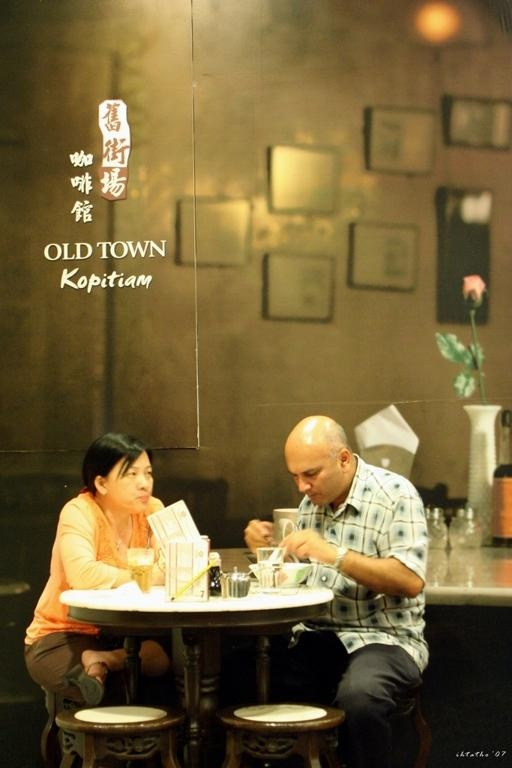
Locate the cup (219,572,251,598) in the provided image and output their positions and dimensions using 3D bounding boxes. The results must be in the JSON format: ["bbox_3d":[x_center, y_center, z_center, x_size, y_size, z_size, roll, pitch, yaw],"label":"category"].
[{"bbox_3d":[-0.056,0.522,2.033,0.064,0.055,0.064,0,0,0],"label":"cup"}]

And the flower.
[{"bbox_3d":[0.887,-0.195,3.263,0.238,0.539,0.160,-1,5,-10],"label":"flower"}]

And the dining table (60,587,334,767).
[{"bbox_3d":[-0.153,0.623,1.952,0.622,0.413,0.609,1,-9,-10],"label":"dining table"}]

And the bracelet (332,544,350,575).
[{"bbox_3d":[0.234,0.492,2.161,0.046,0.077,0.070,4,34,8],"label":"bracelet"}]

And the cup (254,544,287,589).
[{"bbox_3d":[0.024,0.506,2.147,0.110,0.148,0.102,0,-7,0],"label":"cup"}]
